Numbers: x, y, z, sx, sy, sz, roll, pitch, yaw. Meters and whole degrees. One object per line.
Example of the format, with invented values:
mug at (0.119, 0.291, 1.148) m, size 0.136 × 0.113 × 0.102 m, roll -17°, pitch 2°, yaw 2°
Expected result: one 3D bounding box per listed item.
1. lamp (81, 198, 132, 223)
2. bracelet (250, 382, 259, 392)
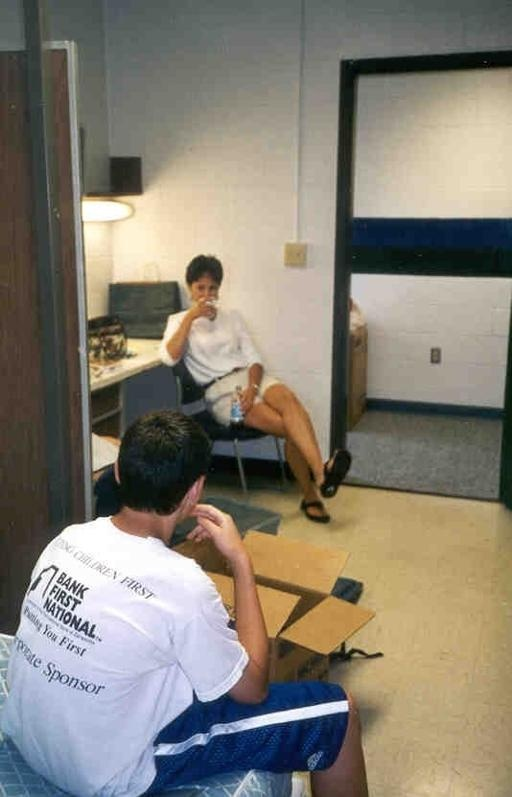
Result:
lamp at (-0.858, -1.099, 3.894) m, size 0.288 × 0.142 × 0.132 m, roll -4°, pitch 12°, yaw -19°
bracelet at (-0.005, -0.066, 3.713) m, size 0.027 × 0.044 × 0.042 m, roll -1°, pitch 1°, yaw -11°
